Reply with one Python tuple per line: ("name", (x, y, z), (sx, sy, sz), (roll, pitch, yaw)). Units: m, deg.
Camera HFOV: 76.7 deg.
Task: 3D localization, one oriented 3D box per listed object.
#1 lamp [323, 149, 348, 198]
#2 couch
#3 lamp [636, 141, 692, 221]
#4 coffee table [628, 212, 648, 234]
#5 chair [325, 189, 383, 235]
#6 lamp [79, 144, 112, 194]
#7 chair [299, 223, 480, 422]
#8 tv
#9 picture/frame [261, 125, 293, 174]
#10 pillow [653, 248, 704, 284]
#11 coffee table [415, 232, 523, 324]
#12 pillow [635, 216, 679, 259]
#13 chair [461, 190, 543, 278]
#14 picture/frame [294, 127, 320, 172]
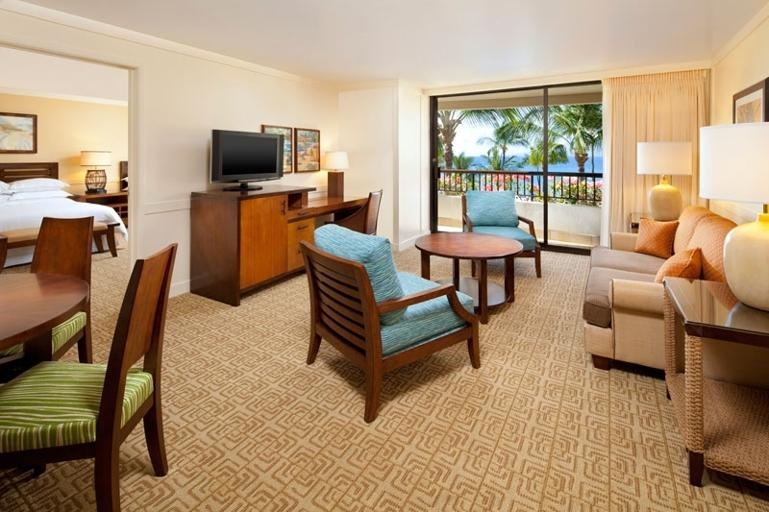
("lamp", (-0.702, -1.142, 6.912), (0.379, 0.633, 0.381), (1, 6, 20))
("couch", (2.563, 0.147, 4.699), (1.108, 1.079, 2.553), (1, 11, 25))
("lamp", (3.238, -0.839, 5.610), (0.580, 0.898, 0.578), (-3, -1, -20))
("coffee table", (2.957, -0.377, 5.655), (0.273, 0.176, 0.282), (5, 10, 42))
("chair", (-0.393, -0.508, 6.227), (0.650, 0.956, 0.660), (3, 8, 11))
("lamp", (-4.705, -1.328, 7.900), (0.435, 0.689, 0.424), (-3, -5, -32))
("chair", (-0.037, 0.301, 4.164), (1.466, 1.498, 1.266), (-8, 11, -36))
("tv", (-1.573, -1.092, 5.617), (0.303, 0.649, 0.994), (13, 16, 35))
("picture/frame", (-1.349, -1.322, 5.967), (0.080, 0.772, 0.662), (8, 12, 25))
("pillow", (2.287, 0.054, 3.651), (0.243, 0.193, 0.139), (4, 16, -40))
("coffee table", (0.851, 0.195, 4.986), (0.974, 0.641, 1.005), (0, 8, -21))
("pillow", (2.813, -0.162, 4.976), (0.295, 0.322, 0.094), (-1, -3, 4))
("chair", (1.364, -0.296, 6.043), (0.822, 0.969, 1.093), (-1, 12, -3))
("picture/frame", (-1.098, -1.470, 6.714), (0.051, 0.692, 0.623), (2, 6, 24))
